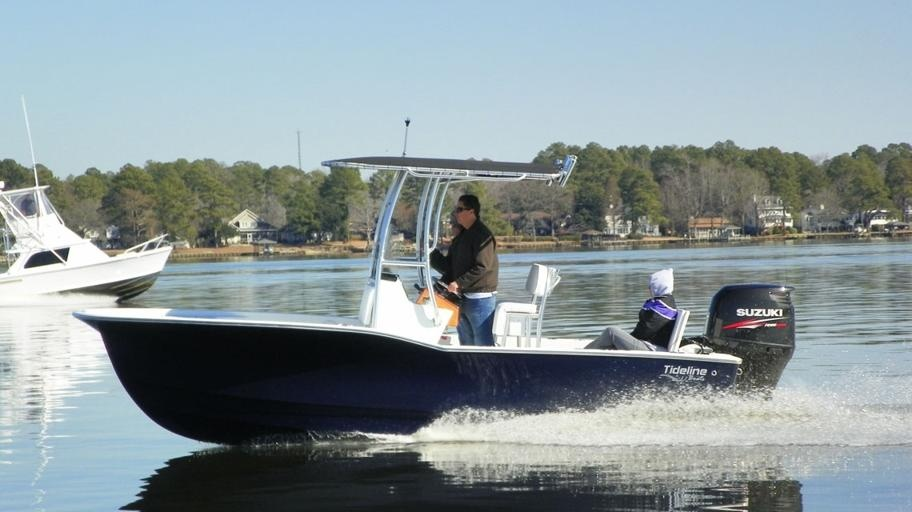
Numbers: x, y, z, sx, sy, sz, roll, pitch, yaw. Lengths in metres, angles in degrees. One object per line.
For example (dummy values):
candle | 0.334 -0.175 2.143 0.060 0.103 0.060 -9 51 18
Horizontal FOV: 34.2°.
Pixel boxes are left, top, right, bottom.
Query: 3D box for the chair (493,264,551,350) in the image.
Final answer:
chair | 2.745 2.049 56.848 2.258 3.578 1.564 0 1 13

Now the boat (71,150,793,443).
boat | 3.107 3.926 62.258 33.238 12.794 10.200 3 -5 -4
